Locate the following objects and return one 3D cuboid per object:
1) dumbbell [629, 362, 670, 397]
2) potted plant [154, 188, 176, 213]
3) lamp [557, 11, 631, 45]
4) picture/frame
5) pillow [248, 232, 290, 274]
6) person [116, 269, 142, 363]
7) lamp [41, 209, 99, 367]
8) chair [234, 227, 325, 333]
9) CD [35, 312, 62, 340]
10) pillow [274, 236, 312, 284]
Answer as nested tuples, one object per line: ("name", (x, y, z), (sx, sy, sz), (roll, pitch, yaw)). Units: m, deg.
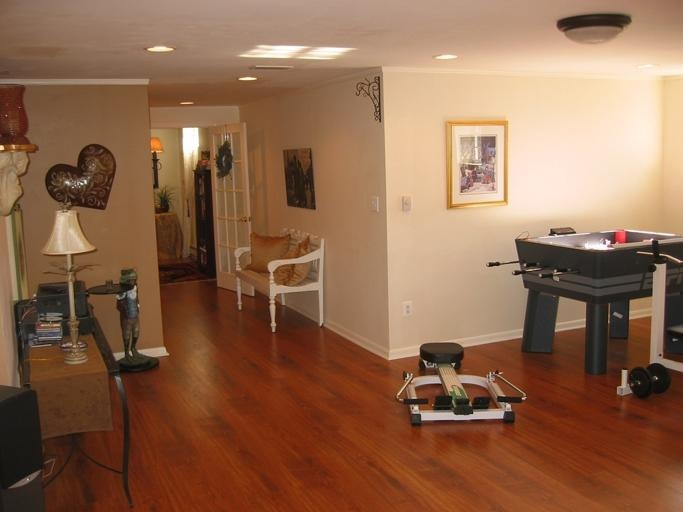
("dumbbell", (2.460, 1.008, 4.208), (0.276, 0.267, 0.168), (-5, 11, -15))
("potted plant", (-3.749, -1.193, 11.095), (0.385, 0.517, 0.652), (-4, 11, -9))
("lamp", (1.610, -1.453, 3.332), (0.504, 0.132, 0.266), (-5, 11, -17))
("picture/frame", (1.331, -0.961, 5.285), (0.860, 0.985, 0.066), (-6, 11, -19))
("pillow", (-0.925, -0.030, 6.741), (0.508, 0.471, 0.194), (5, -8, 28))
("person", (-1.994, 0.570, 4.939), (0.189, 0.931, 0.407), (-6, 12, -22))
("lamp", (-1.792, 0.132, 3.487), (0.301, 0.918, 0.920), (-7, 12, -27))
("chair", (-0.817, 0.240, 6.657), (0.722, 1.040, 1.289), (-3, 9, -29))
("CD", (-1.973, 0.478, 3.552), (0.174, 0.172, 0.063), (8, -36, -24))
("pillow", (-0.628, 0.027, 6.458), (0.479, 0.554, 0.568), (-6, 12, -23))
